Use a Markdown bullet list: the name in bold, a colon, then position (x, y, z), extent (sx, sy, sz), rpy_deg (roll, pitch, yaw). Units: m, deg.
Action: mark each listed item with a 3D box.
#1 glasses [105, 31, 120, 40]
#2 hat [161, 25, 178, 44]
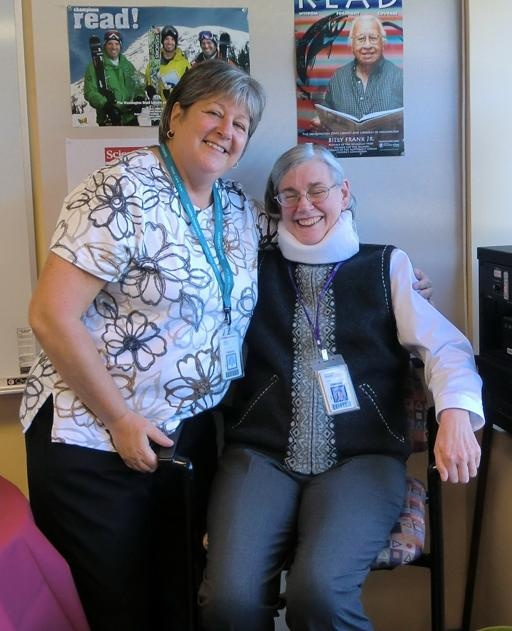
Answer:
- **glasses**: position (-0.390, -0.765, 1.552), extent (0.024, 0.027, 0.032), rpy_deg (-3, 30, -4)
- **hat**: position (-0.236, -0.773, 1.569), extent (0.034, 0.045, 0.042), rpy_deg (2, 45, -1)
